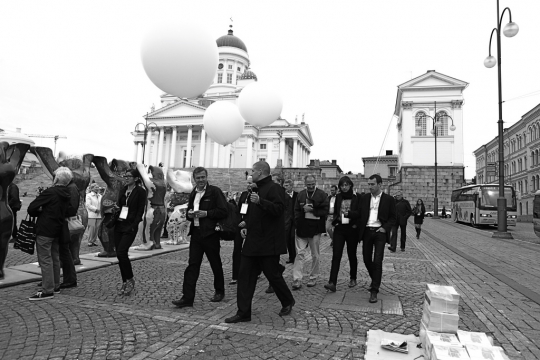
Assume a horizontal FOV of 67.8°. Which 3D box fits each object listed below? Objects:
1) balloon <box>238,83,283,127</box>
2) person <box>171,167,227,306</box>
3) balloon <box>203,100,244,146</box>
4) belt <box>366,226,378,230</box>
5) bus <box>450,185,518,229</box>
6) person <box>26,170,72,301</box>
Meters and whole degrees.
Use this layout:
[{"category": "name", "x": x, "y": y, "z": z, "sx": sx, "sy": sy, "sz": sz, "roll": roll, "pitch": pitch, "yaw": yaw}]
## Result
[{"category": "balloon", "x": -0.330, "y": -2.565, "z": 13.372, "sx": 1.528, "sy": 1.856, "sz": 1.536, "roll": 0, "pitch": 2, "yaw": -21}, {"category": "person", "x": -1.434, "y": 1.163, "z": 8.552, "sx": 1.043, "sy": 2.856, "sz": 0.651, "roll": 1, "pitch": 1, "yaw": -16}, {"category": "balloon", "x": -1.574, "y": -2.014, "z": 13.948, "sx": 1.478, "sy": 1.746, "sz": 1.500, "roll": -1, "pitch": 11, "yaw": -24}, {"category": "belt", "x": 2.307, "y": 1.109, "z": 9.135, "sx": 0.237, "sy": 0.075, "sz": 0.044, "roll": 2, "pitch": 2, "yaw": 22}, {"category": "bus", "x": 15.832, "y": 1.941, "z": 30.870, "sx": 2.491, "sy": 3.380, "sz": 8.264, "roll": 1, "pitch": -4, "yaw": 11}, {"category": "person", "x": -4.682, "y": 1.121, "z": 8.605, "sx": 0.818, "sy": 2.738, "sz": 0.566, "roll": 0, "pitch": 2, "yaw": -35}]
